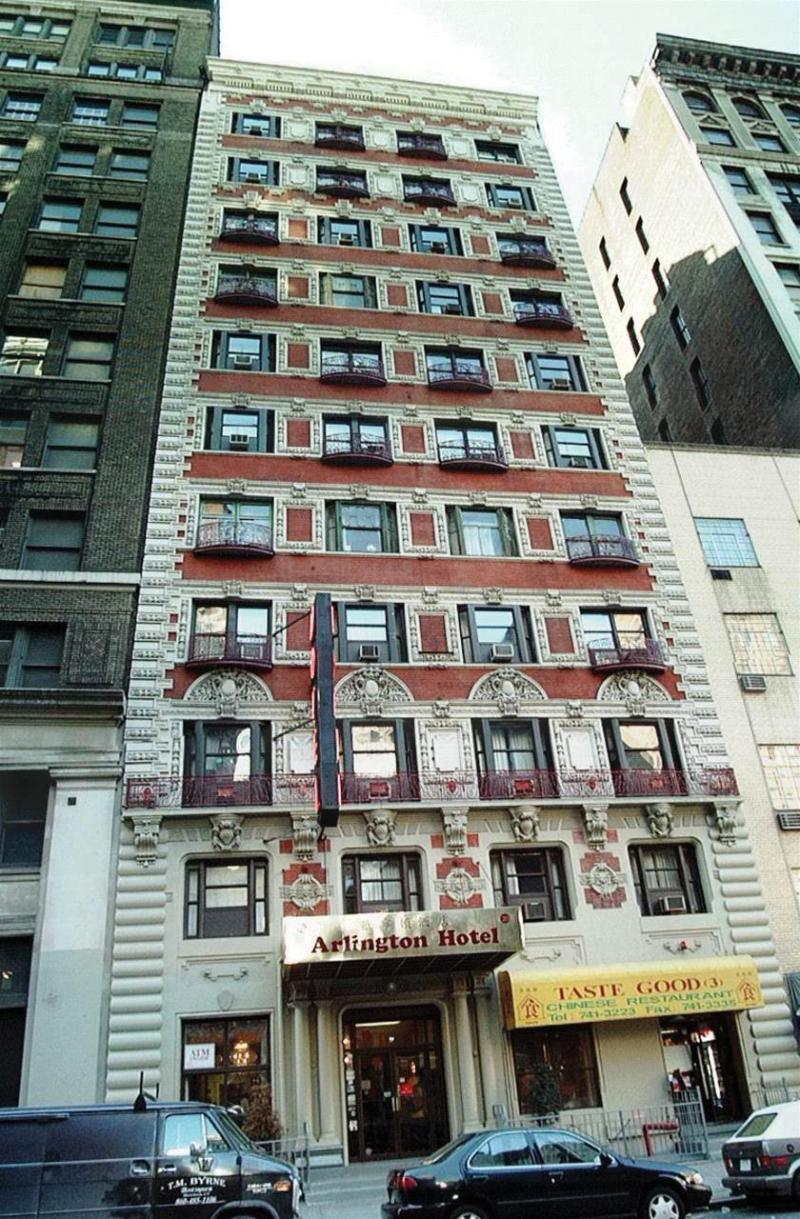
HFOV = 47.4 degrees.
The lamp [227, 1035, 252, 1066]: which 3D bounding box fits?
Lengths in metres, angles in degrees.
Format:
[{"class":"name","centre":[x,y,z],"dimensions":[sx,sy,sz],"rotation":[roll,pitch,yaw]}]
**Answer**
[{"class":"lamp","centre":[-3.229,8.986,18.548],"dimensions":[0.392,0.545,0.416],"rotation":[8,-54,-15]}]

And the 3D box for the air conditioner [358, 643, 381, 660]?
[{"class":"air conditioner","centre":[-0.802,1.195,23.404],"dimensions":[0.617,0.444,0.338],"rotation":[3,-20,-17]}]

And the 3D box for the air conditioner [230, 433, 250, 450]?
[{"class":"air conditioner","centre":[-4.588,-4.804,26.069],"dimensions":[0.447,0.280,0.461],"rotation":[1,-59,-7]}]
